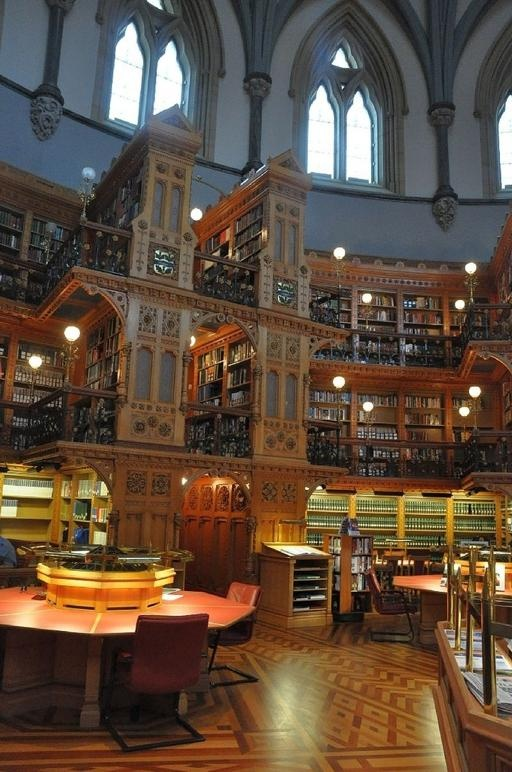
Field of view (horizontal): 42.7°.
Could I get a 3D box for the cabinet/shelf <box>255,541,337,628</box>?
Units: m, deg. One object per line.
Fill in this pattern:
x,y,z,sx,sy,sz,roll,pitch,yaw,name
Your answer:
0.508,2.535,8.410,0.829,0.925,0.879,10,-13,-29,cabinet/shelf
